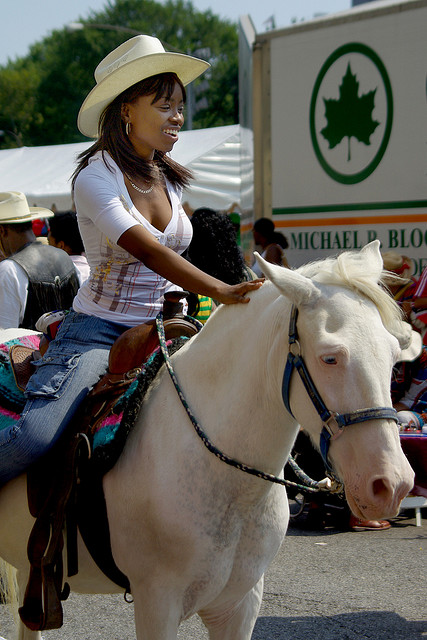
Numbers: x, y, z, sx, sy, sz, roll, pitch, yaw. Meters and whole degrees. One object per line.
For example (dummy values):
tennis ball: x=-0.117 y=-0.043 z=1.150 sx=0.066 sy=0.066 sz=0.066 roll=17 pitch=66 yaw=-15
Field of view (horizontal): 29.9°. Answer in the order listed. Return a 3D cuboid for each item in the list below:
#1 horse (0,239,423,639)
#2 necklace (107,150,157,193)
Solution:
horse: x=-0.018 y=0.433 z=2.500 sx=1.418 sy=1.258 sz=0.491 roll=0 pitch=4 yaw=35
necklace: x=-0.306 y=-0.527 z=2.844 sx=0.010 sy=0.184 sz=0.139 roll=-27 pitch=8 yaw=47
